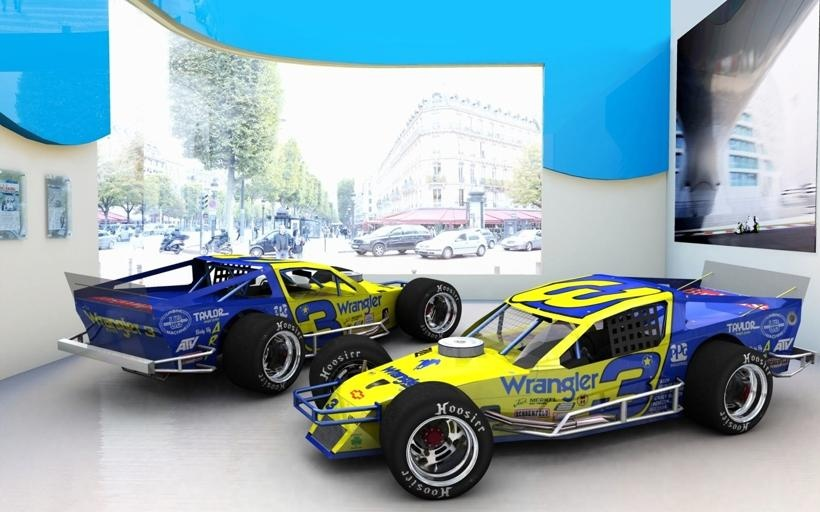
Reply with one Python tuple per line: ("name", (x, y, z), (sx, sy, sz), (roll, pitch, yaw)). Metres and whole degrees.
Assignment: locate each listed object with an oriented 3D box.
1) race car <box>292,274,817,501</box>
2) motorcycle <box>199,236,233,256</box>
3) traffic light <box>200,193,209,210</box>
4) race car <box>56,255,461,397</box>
("race car", (1.624, 1.174, 6.068), (4.342, 1.348, 2.345), (-3, 1, -20))
("motorcycle", (-4.027, -0.184, 12.393), (0.718, 0.465, 0.383), (9, -3, -33))
("traffic light", (-4.286, -1.136, 12.295), (0.130, 0.353, 0.217), (-1, 5, 1))
("race car", (-1.725, 0.742, 8.455), (3.033, 1.536, 5.262), (2, 5, 36))
